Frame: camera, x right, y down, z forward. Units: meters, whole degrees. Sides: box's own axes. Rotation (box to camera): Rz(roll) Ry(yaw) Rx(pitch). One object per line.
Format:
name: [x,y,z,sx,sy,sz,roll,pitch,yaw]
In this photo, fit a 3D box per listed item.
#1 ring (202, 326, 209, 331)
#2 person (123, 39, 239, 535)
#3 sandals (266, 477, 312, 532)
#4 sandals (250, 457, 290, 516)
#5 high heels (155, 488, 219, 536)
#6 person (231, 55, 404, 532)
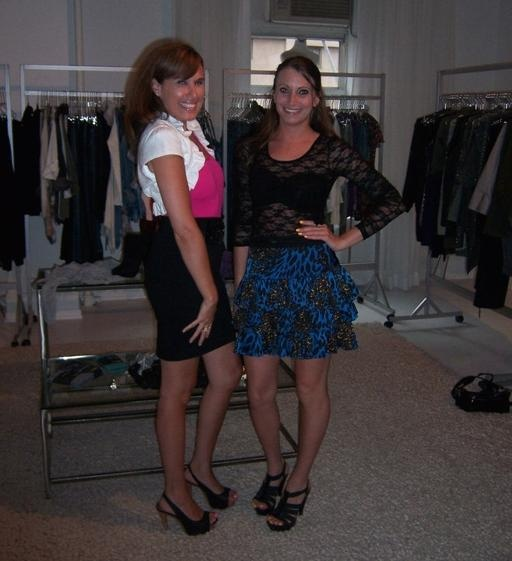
ring: [-0.137,0.132,1.352,0.011,0.012,0.008,4,1,45]
person: [-0.202,0.110,1.452,0.295,1.509,0.430,1,10,7]
sandals: [0.118,0.755,1.679,0.068,0.092,0.210,-5,-1,19]
sandals: [0.055,0.729,1.762,0.072,0.087,0.214,-12,5,18]
high heels: [-0.219,0.726,1.633,0.204,0.162,0.113,3,11,-9]
person: [0.183,0.082,1.588,0.506,1.494,0.350,-1,10,-4]
